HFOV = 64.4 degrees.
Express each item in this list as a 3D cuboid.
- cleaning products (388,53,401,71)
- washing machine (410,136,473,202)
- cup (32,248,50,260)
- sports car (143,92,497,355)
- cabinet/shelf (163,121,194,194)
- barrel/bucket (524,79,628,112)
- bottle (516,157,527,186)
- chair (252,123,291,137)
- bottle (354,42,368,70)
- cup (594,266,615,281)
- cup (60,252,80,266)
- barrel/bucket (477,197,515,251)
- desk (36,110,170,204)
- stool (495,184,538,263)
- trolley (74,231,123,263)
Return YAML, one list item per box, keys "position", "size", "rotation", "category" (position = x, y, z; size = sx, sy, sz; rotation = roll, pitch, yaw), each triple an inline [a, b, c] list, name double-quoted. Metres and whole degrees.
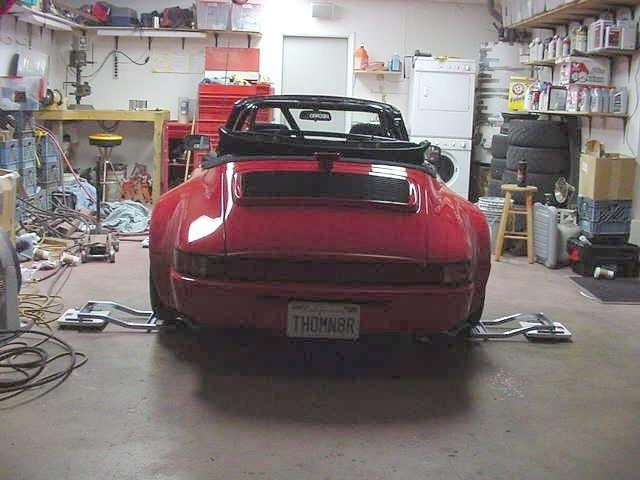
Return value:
- position: [1.281, -3.046, 8.801]
  size: [0.220, 0.309, 0.265]
  rotation: [3, 12, 6]
  category: "cleaning products"
- position: [2.112, -1.209, 8.477]
  size: [0.817, 1.152, 0.611]
  rotation: [10, 28, 26]
  category: "washing machine"
- position: [-2.681, 0.141, 4.860]
  size: [0.211, 0.104, 0.070]
  rotation: [6, 13, 19]
  category: "cup"
- position: [-0.008, -0.447, 3.873]
  size: [1.940, 1.249, 3.230]
  rotation: [3, 16, 0]
  category: "sports car"
- position: [-2.279, -1.186, 8.172]
  size: [0.499, 1.336, 0.473]
  rotation: [1, -4, -21]
  category: "cabinet/shelf"
- position: [2.988, -1.670, 5.989]
  size: [0.476, 0.406, 1.472]
  rotation: [1, 13, -4]
  category: "barrel/bucket"
- position: [2.272, -0.736, 5.730]
  size: [0.101, 0.266, 0.247]
  rotation: [6, 13, 20]
  category: "bottle"
- position: [-0.372, -0.853, 3.883]
  size: [0.211, 0.128, 0.312]
  rotation: [8, 18, 1]
  category: "chair"
- position: [0.699, -3.096, 8.687]
  size: [0.241, 0.379, 0.220]
  rotation: [2, 12, 0]
  category: "bottle"
- position: [2.786, 0.336, 4.999]
  size: [0.183, 0.099, 0.122]
  rotation: [9, 14, 27]
  category: "cup"
- position: [-2.358, 0.188, 4.783]
  size: [0.160, 0.105, 0.111]
  rotation: [-1, 12, -12]
  category: "cup"
- position: [2.009, -0.157, 6.182]
  size: [0.416, 0.602, 0.432]
  rotation: [8, 7, -1]
  category: "barrel/bucket"
- position: [-3.385, -1.303, 7.867]
  size: [1.888, 1.898, 0.755]
  rotation: [0, 5, -4]
  category: "desk"
- position: [2.222, -0.163, 5.782]
  size: [0.494, 0.800, 0.523]
  rotation: [-6, 10, -44]
  category: "stool"
- position: [-2.299, 0.000, 5.292]
  size: [0.347, 0.247, 0.806]
  rotation: [1, 17, -23]
  category: "trolley"
